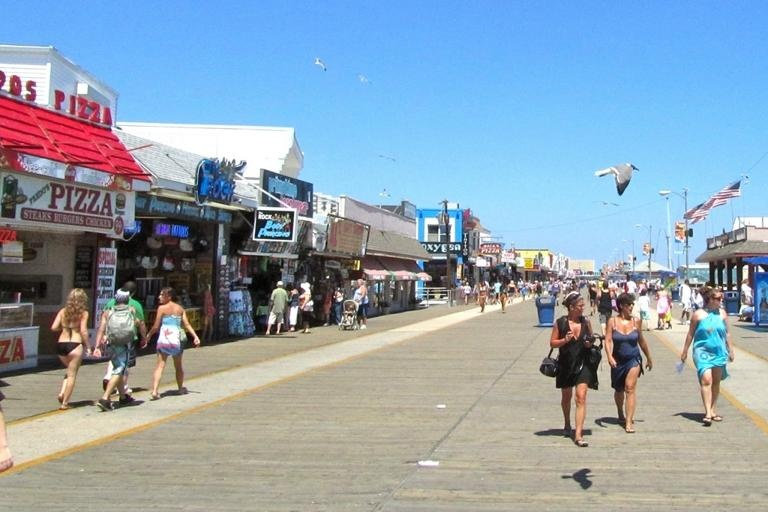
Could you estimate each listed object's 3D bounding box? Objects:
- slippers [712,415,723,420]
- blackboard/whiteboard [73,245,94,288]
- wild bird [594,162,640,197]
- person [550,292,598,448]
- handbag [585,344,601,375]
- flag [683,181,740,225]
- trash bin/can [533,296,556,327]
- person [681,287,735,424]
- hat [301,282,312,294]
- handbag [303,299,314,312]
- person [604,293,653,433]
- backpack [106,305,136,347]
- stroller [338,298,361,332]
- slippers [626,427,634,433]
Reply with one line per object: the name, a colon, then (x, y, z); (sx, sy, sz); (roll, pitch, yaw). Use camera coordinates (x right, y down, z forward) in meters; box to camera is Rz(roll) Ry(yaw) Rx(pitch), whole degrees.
slippers: (5.645, 2.734, 11.143); (0.141, 0.090, 0.375); (-3, -4, 28)
blackboard/whiteboard: (-7.905, 0.328, 17.549); (0.519, 1.114, 0.252); (2, -2, 12)
wild bird: (6.081, -2.068, 17.299); (0.381, 0.608, 1.393); (-13, 14, -42)
person: (2.946, 1.713, 10.141); (0.600, 2.259, 0.638); (-2, -4, 26)
handbag: (3.268, 1.576, 10.163); (0.182, 0.415, 0.347); (-4, -5, 39)
flag: (18.448, -2.902, 37.009); (1.797, 1.674, 4.107); (-1, -4, 9)
trash bin/can: (7.327, 2.426, 28.595); (1.218, 1.359, 1.181); (0, -8, -5)
person: (5.614, 1.678, 11.407); (0.740, 2.253, 1.354); (-2, -4, 25)
hat: (-3.026, 1.283, 26.796); (0.323, 0.547, 0.520); (-2, -9, -12)
handbag: (-2.993, 2.027, 26.813); (0.419, 0.553, 0.593); (1, -13, 4)
person: (3.917, 1.705, 10.618); (0.604, 2.187, 0.780); (-3, -4, 32)
backpack: (-4.790, 1.276, 12.111); (0.528, 0.721, 0.402); (-3, 2, -16)
stroller: (-1.268, 2.496, 28.036); (0.799, 1.339, 1.231); (0, -1, 9)
slippers: (3.919, 2.759, 10.452); (0.144, 0.066, 0.116); (-1, -4, 9)
